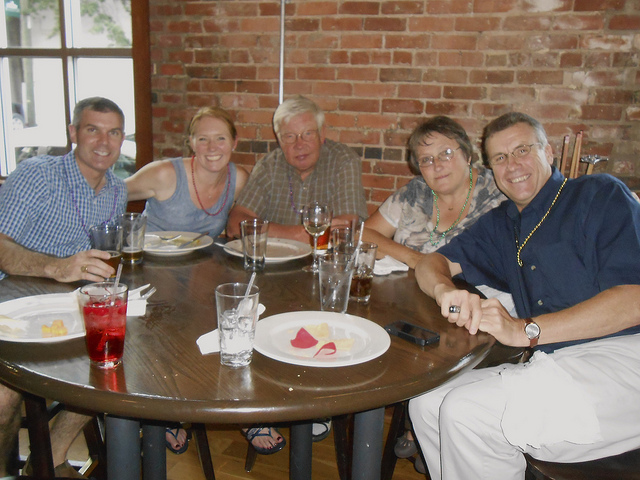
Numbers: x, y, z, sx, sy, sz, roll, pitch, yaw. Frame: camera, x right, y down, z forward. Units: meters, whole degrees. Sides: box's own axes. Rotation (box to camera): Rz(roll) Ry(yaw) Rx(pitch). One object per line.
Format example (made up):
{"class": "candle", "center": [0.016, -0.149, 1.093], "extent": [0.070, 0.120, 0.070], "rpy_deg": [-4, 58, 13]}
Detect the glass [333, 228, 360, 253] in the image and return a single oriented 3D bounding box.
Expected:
{"class": "glass", "center": [0.106, -0.001, 1.967], "extent": [0.078, 0.092, 0.100], "rpy_deg": [1, -1, 17]}

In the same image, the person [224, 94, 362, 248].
{"class": "person", "center": [-0.135, -0.235, 2.966], "extent": [0.820, 1.147, 0.683], "rpy_deg": [-6, 26, -7]}

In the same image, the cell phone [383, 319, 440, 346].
{"class": "cell phone", "center": [0.276, 0.271, 1.516], "extent": [0.114, 0.021, 0.068], "rpy_deg": [18, 20, 41]}

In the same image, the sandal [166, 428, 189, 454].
{"class": "sandal", "center": [-0.689, 0.967, 2.466], "extent": [0.107, 0.121, 0.091], "rpy_deg": [-3, 13, -21]}

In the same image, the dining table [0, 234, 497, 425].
{"class": "dining table", "center": [-0.215, 0.242, 1.563], "extent": [1.355, 0.249, 0.770], "rpy_deg": [1, 12, -7]}

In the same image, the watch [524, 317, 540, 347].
{"class": "watch", "center": [0.685, 0.303, 1.697], "extent": [0.049, 0.087, 0.083], "rpy_deg": [-5, -19, 1]}

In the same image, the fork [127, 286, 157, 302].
{"class": "fork", "center": [-0.583, 0.183, 1.678], "extent": [0.094, 0.019, 0.016], "rpy_deg": [-44, 16, -26]}

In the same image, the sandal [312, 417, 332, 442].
{"class": "sandal", "center": [0.008, 0.911, 2.480], "extent": [0.084, 0.151, 0.083], "rpy_deg": [2, 12, 3]}

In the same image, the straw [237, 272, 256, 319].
{"class": "straw", "center": [-0.209, 0.157, 1.441], "extent": [0.015, 0.010, 0.120], "rpy_deg": [7, 52, 14]}

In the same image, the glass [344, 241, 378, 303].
{"class": "glass", "center": [0.135, 0.110, 1.774], "extent": [0.127, 0.207, 0.132], "rpy_deg": [-3, 14, -21]}

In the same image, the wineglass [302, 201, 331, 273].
{"class": "wineglass", "center": [-0.018, -0.017, 2.100], "extent": [0.115, 0.292, 0.116], "rpy_deg": [-5, 22, -18]}

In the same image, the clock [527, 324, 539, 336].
{"class": "clock", "center": [0.695, 0.291, 1.660], "extent": [0.027, 0.043, 0.040], "rpy_deg": [-1, 5, 12]}

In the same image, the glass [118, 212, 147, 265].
{"class": "glass", "center": [-0.740, -0.016, 2.013], "extent": [0.098, 0.194, 0.176], "rpy_deg": [-3, 13, -19]}

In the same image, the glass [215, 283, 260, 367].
{"class": "glass", "center": [-0.224, 0.230, 1.388], "extent": [0.122, 0.199, 0.122], "rpy_deg": [6, 8, 29]}

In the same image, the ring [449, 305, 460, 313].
{"class": "ring", "center": [0.420, 0.213, 1.592], "extent": [0.024, 0.024, 0.022], "rpy_deg": [4, -24, 2]}

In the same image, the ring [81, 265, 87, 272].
{"class": "ring", "center": [-0.804, 0.093, 1.726], "extent": [0.020, 0.020, 0.005], "rpy_deg": [1, -4, 5]}

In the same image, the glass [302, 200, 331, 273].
{"class": "glass", "center": [-0.017, -0.014, 2.097], "extent": [0.118, 0.303, 0.121], "rpy_deg": [-8, 20, -28]}

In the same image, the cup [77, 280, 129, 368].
{"class": "cup", "center": [-0.593, 0.207, 1.395], "extent": [0.129, 0.200, 0.237], "rpy_deg": [-3, 13, -22]}

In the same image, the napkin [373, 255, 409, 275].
{"class": "napkin", "center": [0.252, 0.096, 2.069], "extent": [0.167, 0.040, 0.155], "rpy_deg": [-5, 13, -29]}
